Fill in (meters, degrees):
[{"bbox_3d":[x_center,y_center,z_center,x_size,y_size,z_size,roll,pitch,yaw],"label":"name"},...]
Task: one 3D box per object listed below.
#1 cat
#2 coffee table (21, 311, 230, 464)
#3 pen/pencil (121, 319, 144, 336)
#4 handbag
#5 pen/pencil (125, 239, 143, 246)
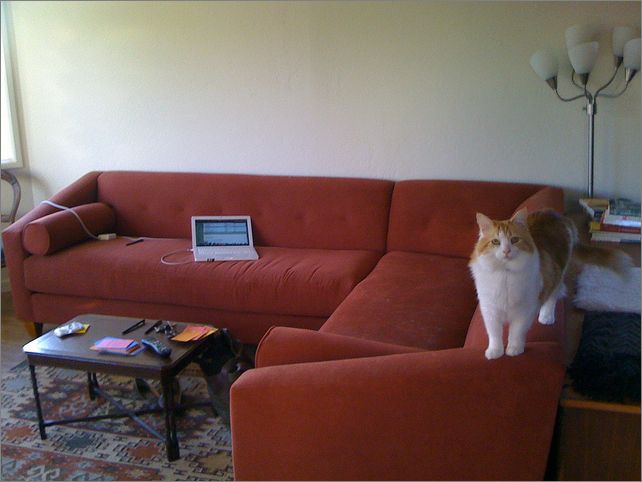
[{"bbox_3d":[0.696,0.036,1.467,0.280,0.313,0.638,7,24,35],"label":"cat"},{"bbox_3d":[-0.820,0.454,2.213,0.808,0.458,0.572,5,18,18],"label":"coffee table"},{"bbox_3d":[-0.862,0.406,2.300,0.027,0.022,0.116,11,23,17],"label":"pen/pencil"},{"bbox_3d":[-0.437,0.652,2.397,0.146,0.288,0.490,1,33,-5],"label":"handbag"},{"bbox_3d":[-1.189,0.013,3.209,0.025,0.021,0.122,-2,14,31],"label":"pen/pencil"}]
